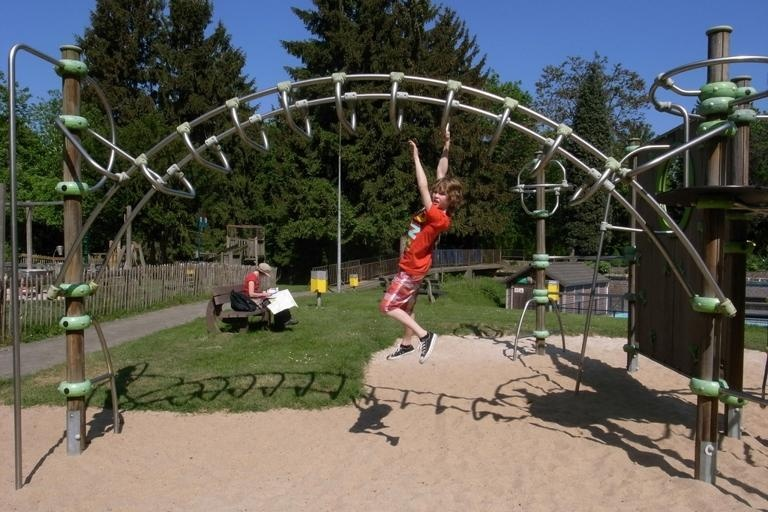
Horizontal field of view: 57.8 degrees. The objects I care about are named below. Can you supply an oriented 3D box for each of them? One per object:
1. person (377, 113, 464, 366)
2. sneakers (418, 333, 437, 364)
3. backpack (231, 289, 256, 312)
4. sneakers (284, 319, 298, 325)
[{"bbox_3d":[0.469,-0.138,8.951,1.070,3.004,0.679,-2,2,6],"label":"person"},{"bbox_3d":[0.559,1.135,9.017,0.199,0.471,0.162,20,-16,-2],"label":"sneakers"},{"bbox_3d":[-2.897,0.913,14.179,0.591,0.292,0.463,-3,1,1],"label":"backpack"},{"bbox_3d":[-1.970,1.397,14.690,0.265,0.122,0.090,-4,5,-10],"label":"sneakers"}]
